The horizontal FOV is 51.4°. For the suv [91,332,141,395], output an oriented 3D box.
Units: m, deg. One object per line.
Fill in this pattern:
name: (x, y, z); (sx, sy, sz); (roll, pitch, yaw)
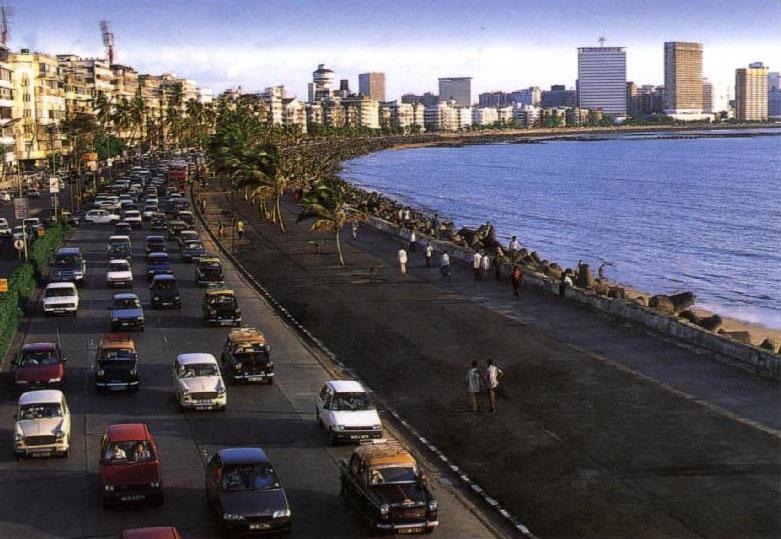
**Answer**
suv: (-12.530, 4.324, 36.813); (1.438, 1.135, 3.420); (7, 33, -21)

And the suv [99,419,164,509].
suv: (-8.629, 6.320, 26.737); (1.477, 1.445, 2.897); (-2, 11, -18)

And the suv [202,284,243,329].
suv: (-10.006, 2.145, 47.307); (1.527, 1.258, 2.728); (1, 16, -18)

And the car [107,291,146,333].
car: (-15.008, 2.444, 45.825); (1.317, 1.337, 3.015); (-1, 5, -20)

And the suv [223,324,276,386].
suv: (-6.799, 4.025, 38.225); (1.603, 1.411, 3.022); (2, 21, -14)

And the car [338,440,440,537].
car: (-0.063, 6.999, 25.301); (2.090, 2.139, 3.171); (-8, 14, -37)

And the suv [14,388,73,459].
suv: (-12.977, 5.716, 30.224); (1.491, 1.357, 2.849); (1, 17, -18)

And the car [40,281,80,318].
car: (-20.181, 1.851, 49.417); (1.553, 1.312, 2.752); (-2, 6, -18)

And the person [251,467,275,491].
person: (-3.934, 6.413, 24.920); (0.423, 0.295, 0.754); (7, 36, -17)

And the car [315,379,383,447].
car: (-1.746, 5.536, 31.539); (1.604, 1.230, 2.604); (-1, 8, -15)

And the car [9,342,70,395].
car: (-15.660, 4.499, 36.042); (1.966, 1.750, 2.027); (-3, 12, -20)
